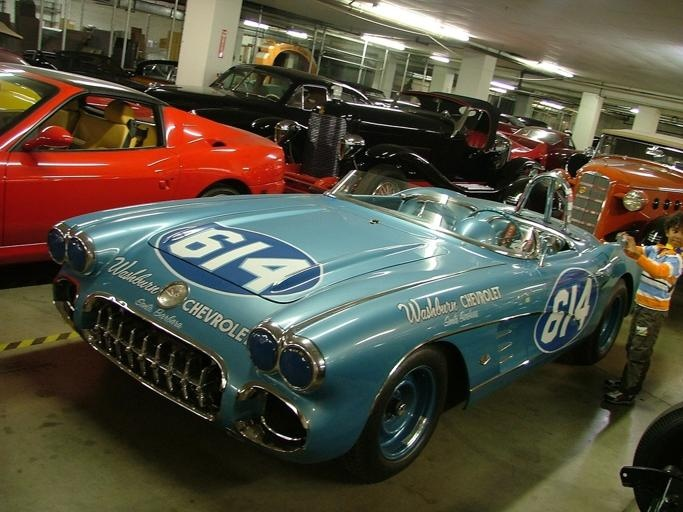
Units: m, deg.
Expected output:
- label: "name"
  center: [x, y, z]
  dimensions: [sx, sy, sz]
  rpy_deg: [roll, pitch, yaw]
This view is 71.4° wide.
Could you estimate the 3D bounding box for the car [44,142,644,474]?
- label: "car"
  center: [0.170, 0.175, 2.953]
  dimensions: [2.834, 1.533, 1.754]
  rpy_deg: [-6, 22, -40]
